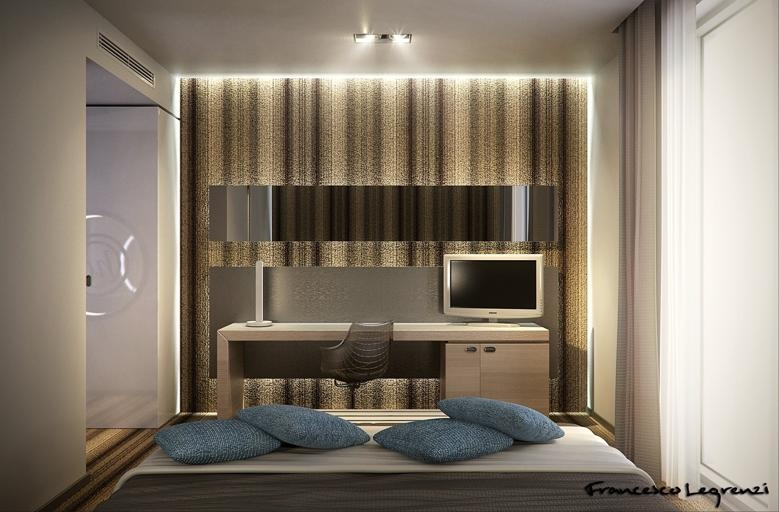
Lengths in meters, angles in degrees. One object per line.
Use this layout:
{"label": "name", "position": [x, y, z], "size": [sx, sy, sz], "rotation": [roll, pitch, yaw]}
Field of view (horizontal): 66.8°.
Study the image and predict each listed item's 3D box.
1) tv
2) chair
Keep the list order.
{"label": "tv", "position": [0.973, 0.302, 5.523], "size": [0.813, 0.480, 0.218], "rotation": [0, -1, 5]}
{"label": "chair", "position": [-0.319, 0.939, 5.335], "size": [0.647, 0.592, 0.554], "rotation": [-10, -9, 38]}
